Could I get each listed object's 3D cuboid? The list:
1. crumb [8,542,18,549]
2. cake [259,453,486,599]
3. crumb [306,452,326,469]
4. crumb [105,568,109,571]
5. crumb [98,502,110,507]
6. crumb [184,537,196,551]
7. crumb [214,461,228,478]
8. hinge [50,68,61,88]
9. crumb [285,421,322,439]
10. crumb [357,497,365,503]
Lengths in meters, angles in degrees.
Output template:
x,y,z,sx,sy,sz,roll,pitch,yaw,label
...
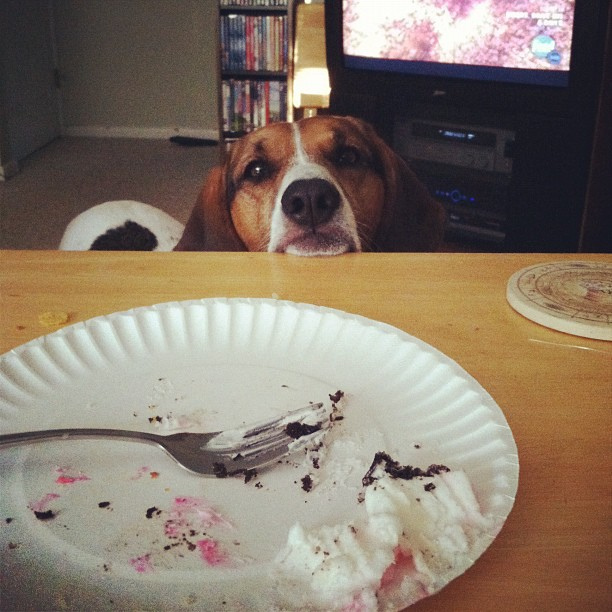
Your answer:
x,y,z,sx,sy,sz,roll,pitch,yaw,label
-0.186,0.152,0.425,0.003,0.001,0.003,3,26,-5,crumb
0.050,0.147,0.429,0.161,0.034,0.092,-11,24,-35,cake
0.008,0.116,0.508,0.009,0.003,0.010,-3,39,0,crumb
-0.122,0.163,0.413,0.002,0.001,0.002,5,20,5,crumb
-0.140,0.137,0.463,0.003,0.001,0.003,4,23,-3,crumb
-0.073,0.155,0.433,0.004,0.002,0.006,-1,24,-16,crumb
-0.064,0.121,0.497,0.007,0.003,0.010,-1,43,-7,crumb
-1.633,-1.481,4.372,0.025,0.113,0.092,14,19,25,hinge
-0.004,0.098,0.530,0.019,0.008,0.013,-3,31,-26,crumb
0.039,0.137,0.471,0.003,0.001,0.003,0,18,-1,crumb
